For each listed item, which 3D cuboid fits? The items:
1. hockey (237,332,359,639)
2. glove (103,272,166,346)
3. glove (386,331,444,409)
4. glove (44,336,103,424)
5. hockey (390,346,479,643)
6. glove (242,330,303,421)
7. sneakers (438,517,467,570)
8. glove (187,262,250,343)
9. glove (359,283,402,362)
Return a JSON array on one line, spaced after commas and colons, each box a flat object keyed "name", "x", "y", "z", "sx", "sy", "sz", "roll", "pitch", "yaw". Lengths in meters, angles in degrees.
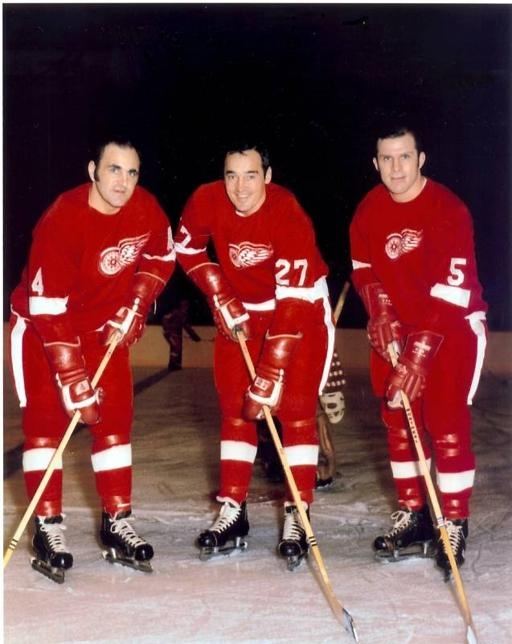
[{"name": "hockey", "x": 0.152, "y": 0.657, "z": 2.852, "sx": 0.042, "sy": 1.218, "sz": 0.182, "roll": 5, "pitch": -48, "yaw": -40}, {"name": "glove", "x": -0.495, "y": -0.043, "z": 2.849, "sx": 0.195, "sy": 0.277, "sz": 0.090, "roll": 29, "pitch": -26, "yaw": -18}, {"name": "glove", "x": 0.576, "y": 0.175, "z": 2.658, "sx": 0.170, "sy": 0.263, "sz": 0.130, "roll": 23, "pitch": 16, "yaw": 37}, {"name": "glove", "x": -0.645, "y": 0.210, "z": 2.570, "sx": 0.121, "sy": 0.287, "sz": 0.166, "roll": -21, "pitch": -1, "yaw": 27}, {"name": "hockey", "x": 0.638, "y": 0.612, "z": 2.573, "sx": 0.123, "sy": 0.916, "sz": 0.082, "roll": -33, "pitch": -23, "yaw": 33}, {"name": "glove", "x": 0.058, "y": 0.191, "z": 2.705, "sx": 0.141, "sy": 0.392, "sz": 0.141, "roll": 27, "pitch": 0, "yaw": 22}, {"name": "sneakers", "x": 0.724, "y": 0.820, "z": 2.620, "sx": 0.081, "sy": 0.086, "sz": 0.236, "roll": -22, "pitch": 2, "yaw": 16}, {"name": "glove", "x": -0.140, "y": -0.088, "z": 2.915, "sx": 0.145, "sy": 0.395, "sz": 0.122, "roll": -28, "pitch": -28, "yaw": -10}, {"name": "glove", "x": 0.505, "y": 0.001, "z": 2.795, "sx": 0.086, "sy": 0.276, "sz": 0.181, "roll": -30, "pitch": -44, "yaw": 29}]
